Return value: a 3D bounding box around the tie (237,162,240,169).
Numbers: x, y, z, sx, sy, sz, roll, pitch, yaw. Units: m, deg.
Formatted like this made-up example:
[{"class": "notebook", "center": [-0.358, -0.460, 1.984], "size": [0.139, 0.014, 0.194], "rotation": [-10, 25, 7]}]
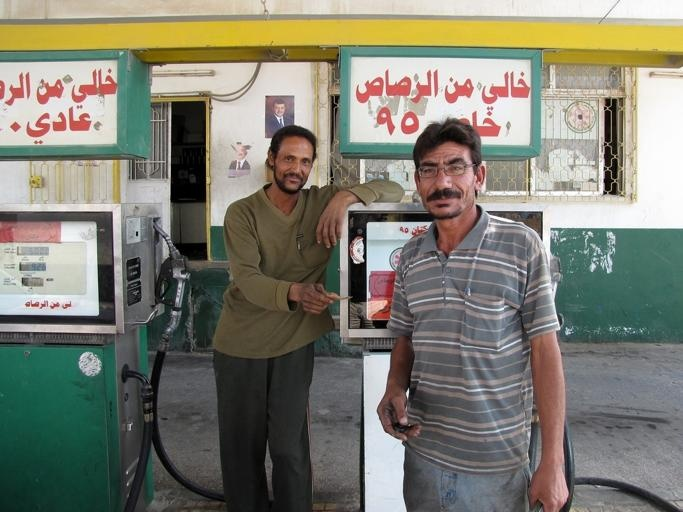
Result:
[{"class": "tie", "center": [-1.128, -0.981, 7.198], "size": [0.039, 0.079, 0.017], "rotation": [-1, 1, 2]}]
